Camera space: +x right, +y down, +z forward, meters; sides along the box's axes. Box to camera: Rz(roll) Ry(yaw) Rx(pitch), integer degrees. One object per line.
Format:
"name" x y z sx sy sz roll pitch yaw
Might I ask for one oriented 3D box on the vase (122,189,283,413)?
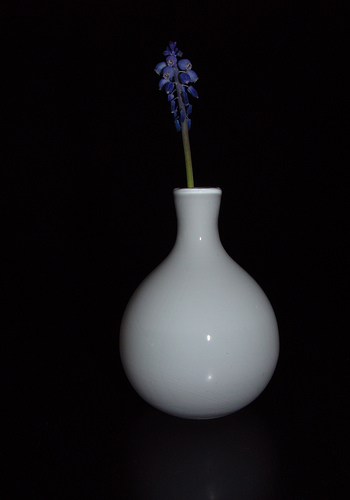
"vase" 0.046 0.097 0.785 0.216 0.486 0.273 0 -1 -2

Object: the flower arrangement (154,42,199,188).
"flower arrangement" 0.006 -0.210 0.747 0.060 0.215 0.148 -1 9 2
